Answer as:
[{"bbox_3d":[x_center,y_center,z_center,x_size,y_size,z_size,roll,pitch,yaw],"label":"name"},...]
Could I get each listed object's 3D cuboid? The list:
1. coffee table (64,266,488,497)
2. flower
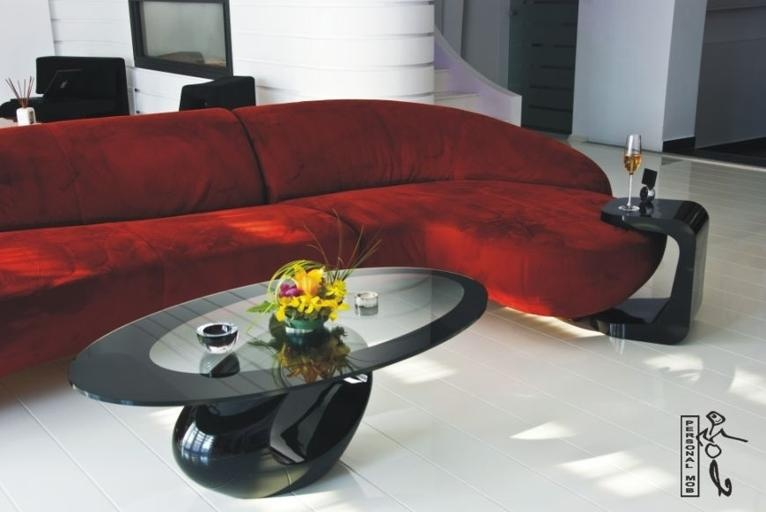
[{"bbox_3d":[-0.264,0.435,1.709,1.163,0.601,0.620,-10,19,-30],"label":"coffee table"},{"bbox_3d":[-0.169,0.021,1.812,0.476,0.310,0.302,-14,17,-38],"label":"flower"}]
